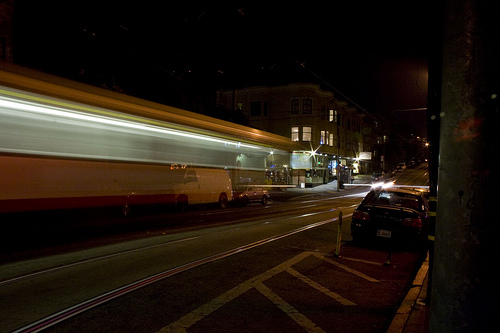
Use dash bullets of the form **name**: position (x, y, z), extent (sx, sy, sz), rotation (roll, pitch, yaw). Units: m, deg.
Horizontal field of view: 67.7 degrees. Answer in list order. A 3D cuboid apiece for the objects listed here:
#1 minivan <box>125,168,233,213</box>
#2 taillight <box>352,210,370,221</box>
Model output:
- **minivan**: position (-3.465, 1.106, 20.669), extent (2.029, 2.318, 7.948), rotation (10, 0, 22)
- **taillight**: position (3.225, 1.439, 10.942), extent (0.160, 0.249, 0.624), rotation (0, 2, -31)
